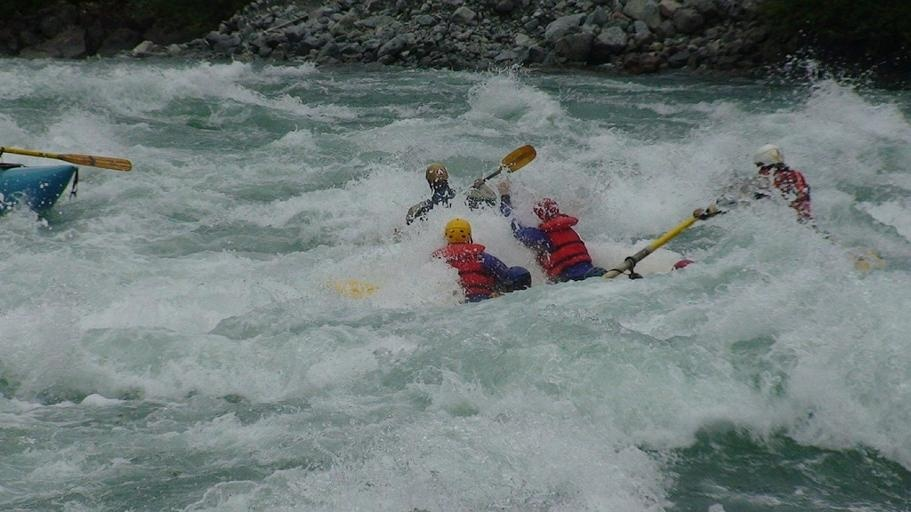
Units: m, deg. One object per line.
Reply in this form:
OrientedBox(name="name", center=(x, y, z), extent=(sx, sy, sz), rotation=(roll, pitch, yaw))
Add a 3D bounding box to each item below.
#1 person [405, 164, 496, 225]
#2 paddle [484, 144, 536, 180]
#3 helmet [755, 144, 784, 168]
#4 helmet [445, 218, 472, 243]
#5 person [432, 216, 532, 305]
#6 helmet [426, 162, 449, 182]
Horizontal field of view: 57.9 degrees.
OrientedBox(name="person", center=(-0.181, -1.175, 16.401), extent=(1.818, 1.040, 1.105), rotation=(-11, -23, -4))
OrientedBox(name="paddle", center=(1.141, -1.913, 16.983), extent=(1.441, 0.341, 0.197), rotation=(-30, 15, 12))
OrientedBox(name="helmet", center=(6.045, -1.883, 15.669), extent=(0.612, 0.364, 0.339), rotation=(-5, -42, -12))
OrientedBox(name="helmet", center=(0.057, -0.470, 15.610), extent=(0.453, 0.420, 0.500), rotation=(2, 19, 4))
OrientedBox(name="person", center=(0.488, 0.148, 15.427), extent=(1.329, 1.952, 0.783), rotation=(-18, 15, 46))
OrientedBox(name="helmet", center=(-0.421, -1.637, 16.311), extent=(0.483, 0.335, 0.324), rotation=(-18, 14, 9))
